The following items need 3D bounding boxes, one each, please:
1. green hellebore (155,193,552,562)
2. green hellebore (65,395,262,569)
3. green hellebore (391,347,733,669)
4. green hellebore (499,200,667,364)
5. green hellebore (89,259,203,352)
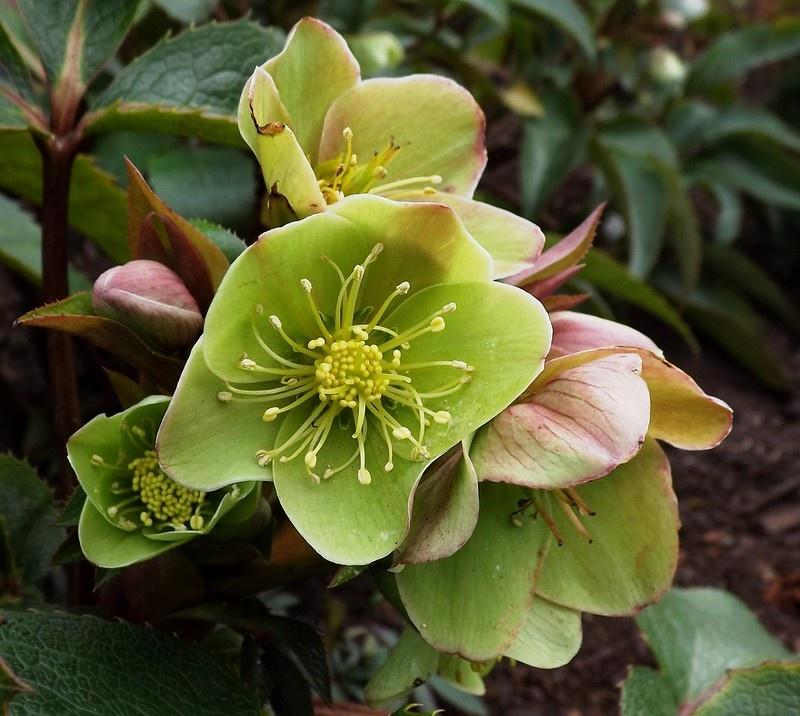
[{"bbox_3d":[-0.034,0.013,0.748,0.252,0.186,0.260,26,57,10],"label":"green hellebore"},{"bbox_3d":[-0.211,0.125,0.809,0.140,0.071,0.185,19,31,5],"label":"green hellebore"},{"bbox_3d":[0.114,0.118,0.798,0.344,0.236,0.247,-9,10,-39],"label":"green hellebore"},{"bbox_3d":[0.158,-0.052,0.861,0.154,0.061,0.145,46,33,-32],"label":"green hellebore"},{"bbox_3d":[-0.224,-0.050,0.811,0.112,0.061,0.082,8,10,-17],"label":"green hellebore"}]
